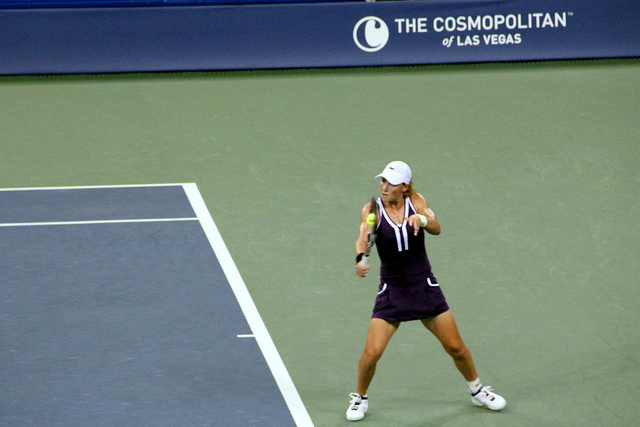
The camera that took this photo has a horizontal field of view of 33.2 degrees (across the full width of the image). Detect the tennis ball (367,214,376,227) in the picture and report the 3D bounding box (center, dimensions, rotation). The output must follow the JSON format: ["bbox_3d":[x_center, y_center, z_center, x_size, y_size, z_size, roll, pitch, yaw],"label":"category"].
[{"bbox_3d":[0.650,0.084,13.294,0.107,0.148,0.078,-6,12,0],"label":"tennis ball"}]

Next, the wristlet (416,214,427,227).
[{"bbox_3d":[1.270,0.101,13.348,0.135,0.109,0.119,1,2,-34],"label":"wristlet"}]

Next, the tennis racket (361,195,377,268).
[{"bbox_3d":[0.610,0.237,13.254,0.163,0.812,0.635,-3,12,14],"label":"tennis racket"}]

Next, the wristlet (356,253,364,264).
[{"bbox_3d":[0.504,0.541,13.161,0.099,0.089,0.114,-6,12,0],"label":"wristlet"}]
